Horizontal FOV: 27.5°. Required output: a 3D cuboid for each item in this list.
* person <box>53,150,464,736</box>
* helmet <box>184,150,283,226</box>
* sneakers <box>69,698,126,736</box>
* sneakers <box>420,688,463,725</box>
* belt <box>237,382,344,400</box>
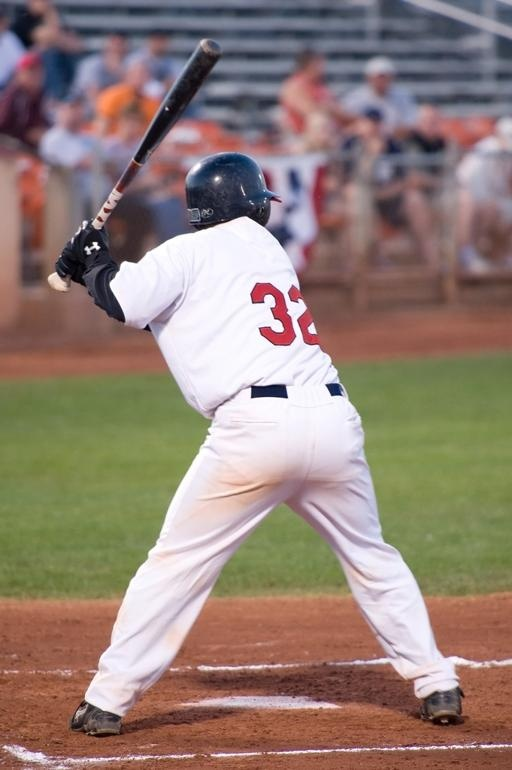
[{"bbox_3d":[-0.004,0.145,2.771,1.018,1.544,0.385,-2,5,-9],"label":"person"},{"bbox_3d":[-0.077,-0.533,2.933,0.292,0.168,0.185,4,-7,-19],"label":"helmet"},{"bbox_3d":[-0.423,0.872,2.743,0.070,0.071,0.165,15,-15,-27],"label":"sneakers"},{"bbox_3d":[0.490,0.848,2.753,0.074,0.069,0.163,0,0,-1],"label":"sneakers"},{"bbox_3d":[0.131,0.014,2.687,0.315,0.040,0.064,-3,4,-37],"label":"belt"}]
